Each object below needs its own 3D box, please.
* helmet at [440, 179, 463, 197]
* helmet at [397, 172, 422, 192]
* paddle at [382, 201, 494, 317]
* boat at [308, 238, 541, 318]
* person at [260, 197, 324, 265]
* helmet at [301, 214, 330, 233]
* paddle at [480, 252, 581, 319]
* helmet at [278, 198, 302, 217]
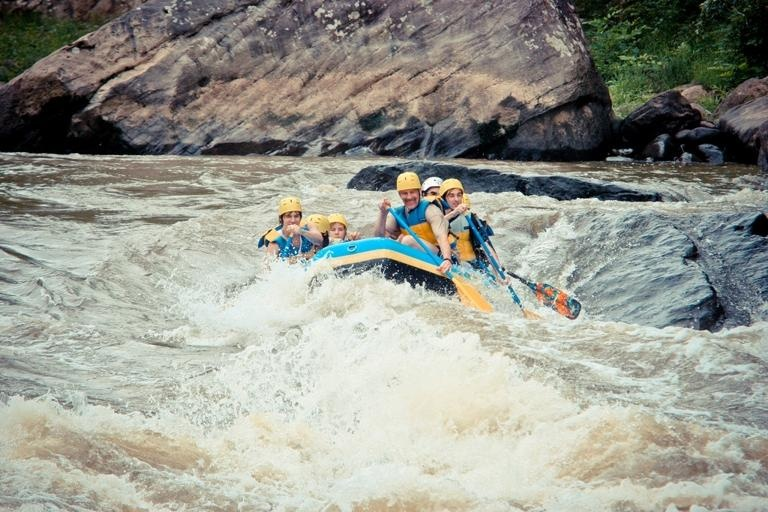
[{"bbox_3d":[0.980,-1.009,12.042,0.273,0.296,0.263,2,2,0],"label":"helmet"},{"bbox_3d":[0.343,-1.052,11.559,0.259,0.237,0.315,-5,22,11],"label":"helmet"},{"bbox_3d":[0.671,0.058,11.000,2.239,0.132,0.394,41,25,30],"label":"paddle"},{"bbox_3d":[0.230,0.153,10.825,2.112,0.909,0.790,-2,29,19],"label":"boat"},{"bbox_3d":[-1.228,-0.134,11.720,1.006,1.194,0.719,-8,-6,-2],"label":"person"},{"bbox_3d":[-0.993,-0.491,11.736,0.269,0.327,0.299,13,56,25],"label":"helmet"},{"bbox_3d":[2.049,0.429,11.070,1.442,0.247,0.162,35,6,40],"label":"paddle"},{"bbox_3d":[-1.341,-0.700,11.926,0.286,0.336,0.239,-2,68,-15],"label":"helmet"}]
